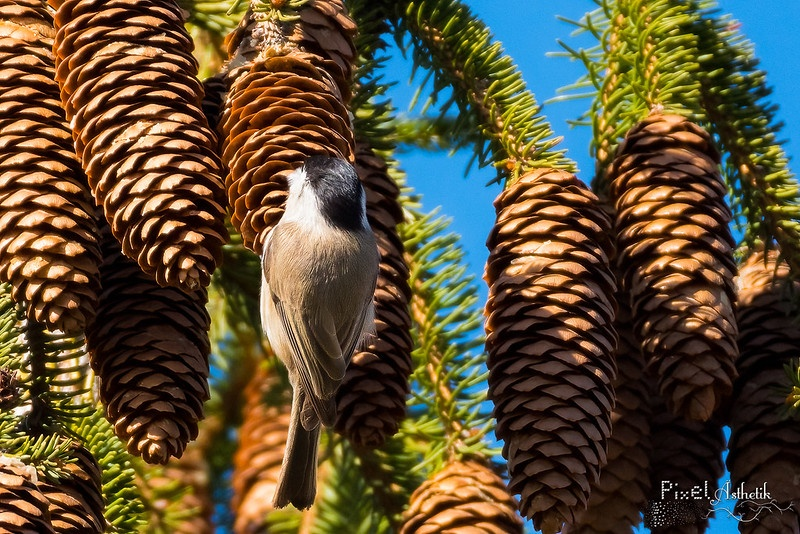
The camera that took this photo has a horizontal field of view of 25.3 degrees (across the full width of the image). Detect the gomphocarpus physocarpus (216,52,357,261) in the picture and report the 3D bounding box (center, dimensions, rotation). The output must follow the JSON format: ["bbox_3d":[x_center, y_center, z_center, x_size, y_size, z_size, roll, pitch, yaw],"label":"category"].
[{"bbox_3d":[-0.391,-0.395,5.809,0.393,0.651,0.301,-6,-36,19],"label":"gomphocarpus physocarpus"}]

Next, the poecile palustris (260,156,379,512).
[{"bbox_3d":[-0.278,0.213,6.182,0.444,1.200,0.554,6,-2,-2],"label":"poecile palustris"}]
